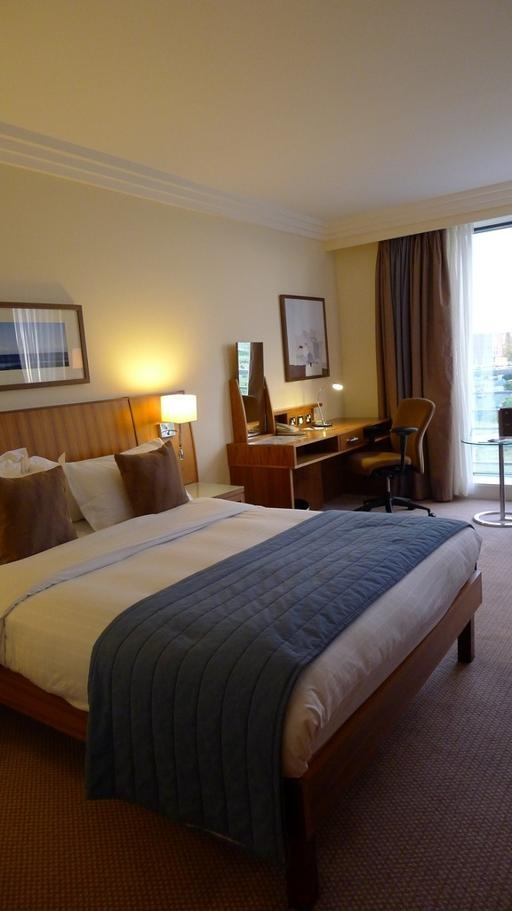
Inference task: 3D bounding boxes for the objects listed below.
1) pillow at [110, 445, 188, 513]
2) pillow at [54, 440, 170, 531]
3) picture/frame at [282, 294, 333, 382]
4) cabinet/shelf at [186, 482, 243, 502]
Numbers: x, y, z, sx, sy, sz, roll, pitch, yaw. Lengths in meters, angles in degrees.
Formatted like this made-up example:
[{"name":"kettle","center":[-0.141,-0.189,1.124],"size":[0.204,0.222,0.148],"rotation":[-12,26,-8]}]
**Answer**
[{"name":"pillow","center":[-0.573,0.132,2.942],"size":[0.088,0.253,0.280],"rotation":[-3,8,34]},{"name":"pillow","center":[-0.782,0.180,2.840],"size":[0.101,0.385,0.356],"rotation":[-22,-10,37]},{"name":"picture/frame","center":[0.464,-1.110,5.271],"size":[0.048,0.798,0.737],"rotation":[0,12,27]},{"name":"cabinet/shelf","center":[-0.261,0.244,3.689],"size":[0.176,0.132,0.192],"rotation":[4,12,25]}]
